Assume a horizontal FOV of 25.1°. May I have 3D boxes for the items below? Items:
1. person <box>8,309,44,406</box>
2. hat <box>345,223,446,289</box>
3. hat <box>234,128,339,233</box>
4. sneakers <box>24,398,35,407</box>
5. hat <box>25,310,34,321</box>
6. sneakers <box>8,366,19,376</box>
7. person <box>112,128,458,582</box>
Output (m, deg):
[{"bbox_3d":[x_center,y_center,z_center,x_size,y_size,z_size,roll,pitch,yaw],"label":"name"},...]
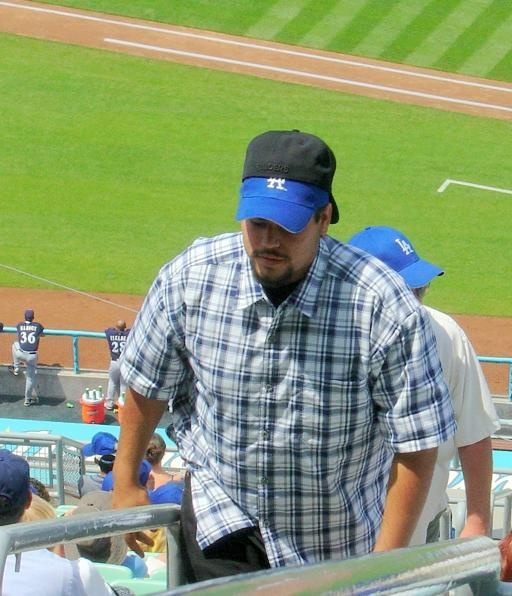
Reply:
[{"bbox_3d":[-2.718,0.792,13.584,0.337,1.115,0.613,6,0,-10],"label":"person"},{"bbox_3d":[0.632,-0.185,5.152,0.451,0.152,0.276,18,30,16],"label":"hat"},{"bbox_3d":[0.119,-0.428,4.189,0.327,0.234,0.473,11,13,12],"label":"hat"},{"bbox_3d":[-2.688,1.237,13.628,0.064,0.055,0.142,2,11,7],"label":"sneakers"},{"bbox_3d":[-2.744,0.218,13.904,0.109,0.125,0.141,1,-25,2],"label":"hat"},{"bbox_3d":[-2.940,0.877,13.826,0.074,0.069,0.184,-11,30,-41],"label":"sneakers"},{"bbox_3d":[0.115,0.238,4.341,1.296,1.670,0.437,5,0,3],"label":"person"}]
